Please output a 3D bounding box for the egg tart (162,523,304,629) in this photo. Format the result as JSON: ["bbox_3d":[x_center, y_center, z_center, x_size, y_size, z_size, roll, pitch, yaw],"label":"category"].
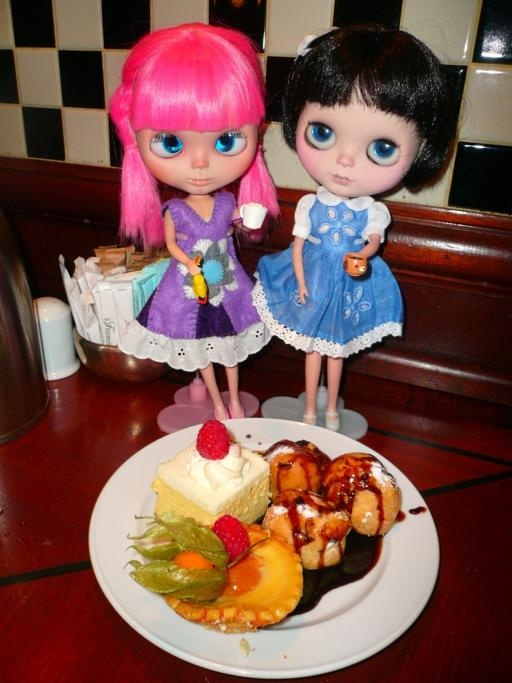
[{"bbox_3d":[-0.008,0.207,0.513,0.082,0.020,0.082,-23,28,-26],"label":"egg tart"}]

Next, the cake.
[{"bbox_3d":[-0.052,0.159,0.640,0.117,0.080,0.108,-19,31,-37],"label":"cake"}]
